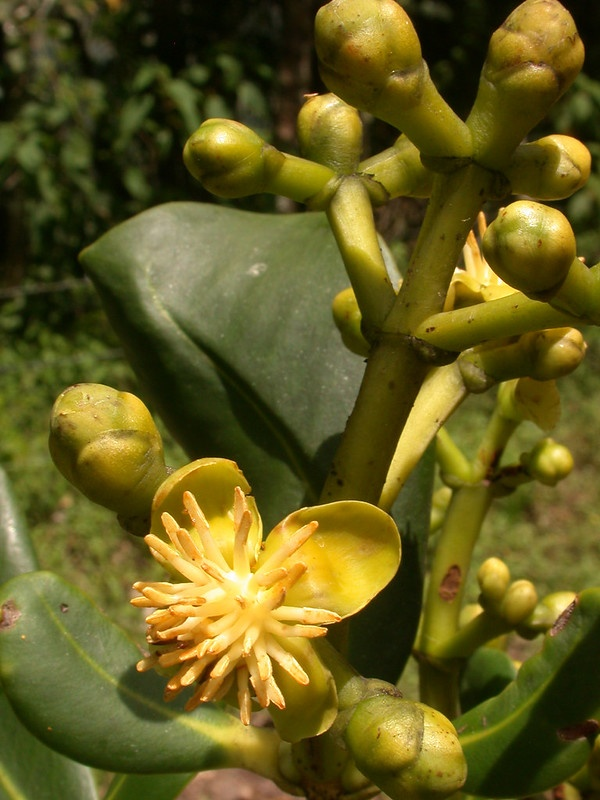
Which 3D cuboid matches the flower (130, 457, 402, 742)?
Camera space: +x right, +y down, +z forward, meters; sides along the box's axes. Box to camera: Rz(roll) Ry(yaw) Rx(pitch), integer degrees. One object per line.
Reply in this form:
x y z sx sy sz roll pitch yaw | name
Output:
-0.033 0.152 0.680 0.182 0.181 0.099 12 100 -25 | flower
